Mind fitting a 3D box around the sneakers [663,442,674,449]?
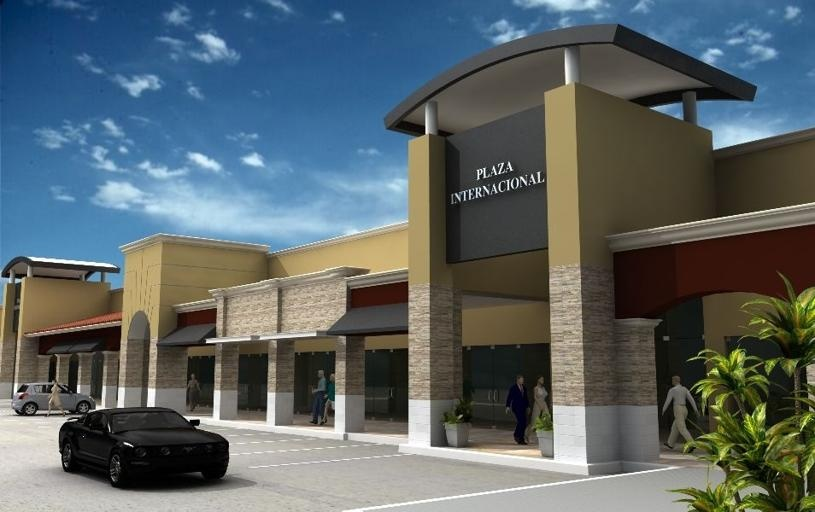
[{"bbox_3d":[9.419,6.778,20.719,0.169,0.156,0.412,5,3,-16],"label":"sneakers"}]
